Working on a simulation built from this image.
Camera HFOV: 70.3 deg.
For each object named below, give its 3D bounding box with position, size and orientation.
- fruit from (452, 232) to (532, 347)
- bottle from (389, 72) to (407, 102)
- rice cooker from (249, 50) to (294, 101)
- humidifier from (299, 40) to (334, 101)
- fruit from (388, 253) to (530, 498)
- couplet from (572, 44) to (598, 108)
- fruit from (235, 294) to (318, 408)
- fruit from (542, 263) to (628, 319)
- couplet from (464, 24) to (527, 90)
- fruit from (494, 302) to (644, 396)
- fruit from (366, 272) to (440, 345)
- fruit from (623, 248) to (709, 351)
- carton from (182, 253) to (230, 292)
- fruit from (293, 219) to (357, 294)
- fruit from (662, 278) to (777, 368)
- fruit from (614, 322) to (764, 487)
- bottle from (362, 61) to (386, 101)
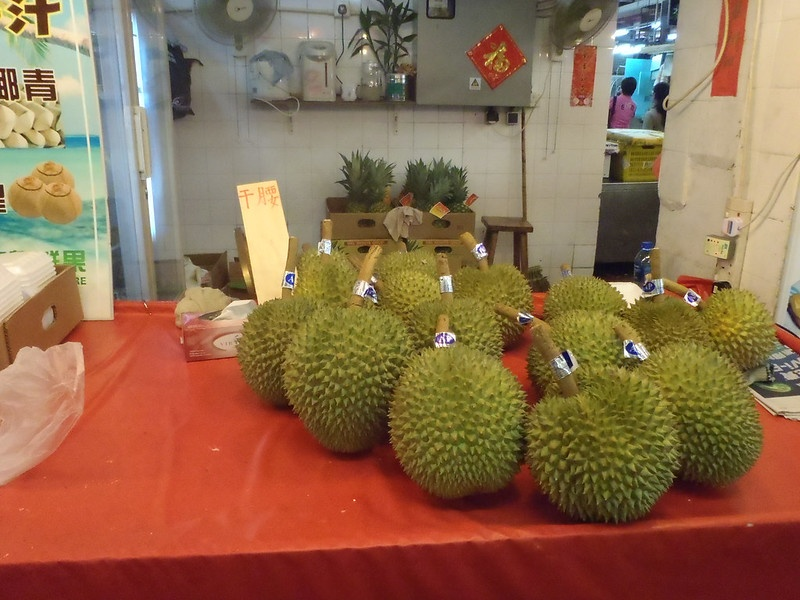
[{"bbox_3d":[0.246,-0.024,1.675,0.230,0.348,0.220,-11,8,-15],"label":"fruit"},{"bbox_3d":[-0.008,-1.647,4.433,0.173,0.205,0.180,3,28,2],"label":"bottle"},{"bbox_3d":[-0.965,-1.655,4.261,0.318,0.396,0.374,0,21,-5],"label":"rice cooker"},{"bbox_3d":[-0.603,-1.698,4.385,0.309,0.496,0.293,1,-3,-12],"label":"humidifier"},{"bbox_3d":[0.095,0.145,1.212,0.210,0.224,0.447,-5,34,-7],"label":"fruit"},{"bbox_3d":[1.517,-1.829,4.704,0.189,0.482,0.031,13,31,31],"label":"couplet"},{"bbox_3d":[-0.323,0.135,1.432,0.188,0.250,0.241,2,-26,-24],"label":"fruit"},{"bbox_3d":[0.505,-0.039,1.553,0.158,0.158,0.122,0,23,47],"label":"fruit"},{"bbox_3d":[0.726,-1.905,4.439,0.341,0.376,0.043,35,15,-19],"label":"couplet"},{"bbox_3d":[0.350,0.091,1.269,0.277,0.181,0.209,27,6,35],"label":"fruit"},{"bbox_3d":[0.023,0.005,1.612,0.185,0.189,0.153,12,13,-9],"label":"fruit"},{"bbox_3d":[0.648,0.037,1.494,0.188,0.308,0.198,-5,13,-43],"label":"fruit"},{"bbox_3d":[-1.110,-0.162,3.312,0.310,0.209,0.319,0,9,-4],"label":"carton"},{"bbox_3d":[-0.212,-0.096,1.636,0.151,0.263,0.147,-5,8,-36],"label":"fruit"},{"bbox_3d":[0.855,0.068,1.526,0.262,0.148,0.145,23,0,37],"label":"fruit"},{"bbox_3d":[0.605,0.236,1.229,0.207,0.215,0.272,-6,62,-19],"label":"fruit"},{"bbox_3d":[-0.208,-1.668,4.384,0.207,0.280,0.131,-2,18,-10],"label":"bottle"}]
